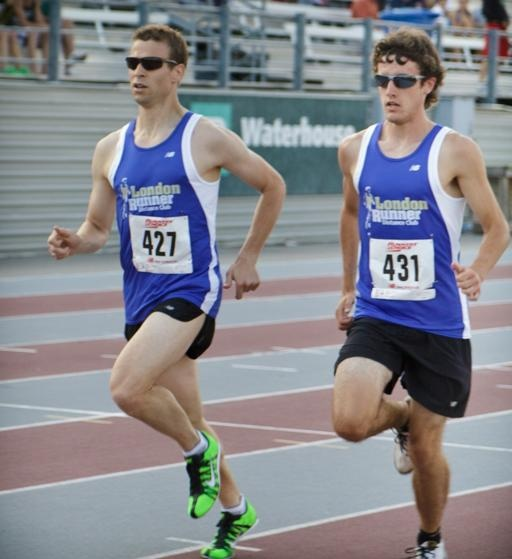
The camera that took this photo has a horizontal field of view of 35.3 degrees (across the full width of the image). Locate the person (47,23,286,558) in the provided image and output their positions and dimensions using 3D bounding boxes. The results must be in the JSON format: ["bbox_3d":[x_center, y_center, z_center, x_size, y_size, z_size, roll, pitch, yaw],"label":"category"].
[{"bbox_3d":[-0.246,0.009,3.102,0.705,2.077,0.774,1,5,1],"label":"person"}]

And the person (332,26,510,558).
[{"bbox_3d":[0.623,0.019,3.051,0.642,1.997,0.718,1,5,5],"label":"person"}]
